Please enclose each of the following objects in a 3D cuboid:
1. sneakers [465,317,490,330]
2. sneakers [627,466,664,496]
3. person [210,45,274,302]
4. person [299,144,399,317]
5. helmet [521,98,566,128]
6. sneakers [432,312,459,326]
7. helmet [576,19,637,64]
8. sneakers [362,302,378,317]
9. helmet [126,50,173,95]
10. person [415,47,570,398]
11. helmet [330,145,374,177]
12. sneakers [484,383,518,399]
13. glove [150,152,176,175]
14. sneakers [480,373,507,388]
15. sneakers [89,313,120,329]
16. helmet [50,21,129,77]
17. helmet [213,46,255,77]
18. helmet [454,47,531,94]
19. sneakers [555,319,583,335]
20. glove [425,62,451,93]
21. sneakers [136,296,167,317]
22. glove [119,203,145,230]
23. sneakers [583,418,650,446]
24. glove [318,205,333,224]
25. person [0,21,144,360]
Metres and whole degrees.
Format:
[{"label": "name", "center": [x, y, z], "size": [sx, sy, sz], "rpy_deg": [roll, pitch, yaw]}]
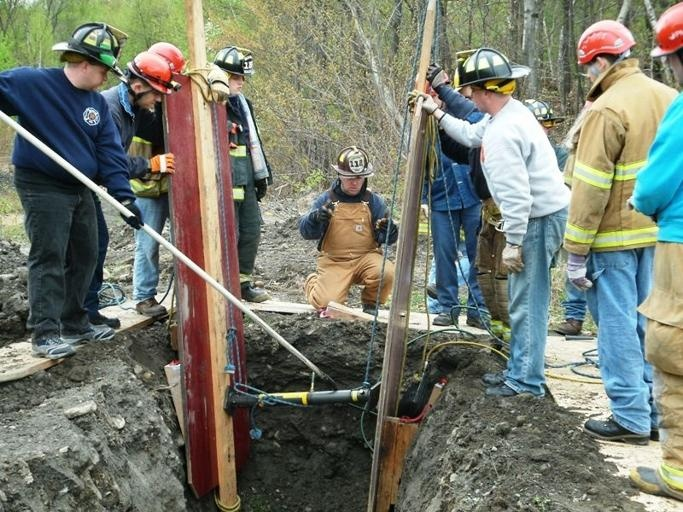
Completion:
[{"label": "sneakers", "center": [1.360, 0.685, 7.514], "size": [0.234, 0.114, 0.089], "rpy_deg": [2, 6, 42]}, {"label": "sneakers", "center": [2.092, 1.547, 5.117], "size": [0.105, 0.101, 0.230], "rpy_deg": [-9, 32, -29]}, {"label": "person", "center": [-1.022, -0.771, 7.739], "size": [0.383, 2.721, 0.749], "rpy_deg": [2, 12, 17]}, {"label": "person", "center": [0.065, -0.250, 7.890], "size": [0.976, 1.744, 0.954], "rpy_deg": [0, 4, 2]}, {"label": "helmet", "center": [2.120, -1.454, 7.932], "size": [0.419, 0.228, 0.308], "rpy_deg": [19, 34, 21]}, {"label": "sneakers", "center": [1.041, 0.648, 7.519], "size": [0.243, 0.112, 0.109], "rpy_deg": [2, -3, 11]}, {"label": "helmet", "center": [2.026, -1.657, 5.793], "size": [0.478, 0.313, 0.353], "rpy_deg": [2, 21, 37]}, {"label": "sneakers", "center": [0.306, 0.584, 7.920], "size": [0.115, 0.208, 0.151], "rpy_deg": [-12, -21, 7]}, {"label": "helmet", "center": [-1.627, -1.629, 6.481], "size": [0.471, 0.266, 0.343], "rpy_deg": [27, 28, 11]}, {"label": "person", "center": [1.381, -0.242, 5.885], "size": [0.781, 2.737, 0.501], "rpy_deg": [2, 12, 16]}, {"label": "helmet", "center": [0.106, -0.995, 7.735], "size": [0.435, 0.279, 0.549], "rpy_deg": [-2, 14, -5]}, {"label": "sneakers", "center": [1.292, 1.094, 6.034], "size": [0.180, 0.081, 0.111], "rpy_deg": [4, 1, 21]}, {"label": "glove", "center": [-1.565, -0.796, 6.446], "size": [0.238, 0.173, 0.155], "rpy_deg": [0, 12, 5]}, {"label": "sneakers", "center": [1.256, 1.038, 6.197], "size": [0.166, 0.069, 0.093], "rpy_deg": [-2, 3, -35]}, {"label": "sneakers", "center": [-2.192, 0.613, 6.935], "size": [0.320, 0.142, 0.109], "rpy_deg": [6, 13, -23]}, {"label": "helmet", "center": [-2.008, -1.716, 5.958], "size": [0.540, 0.302, 0.381], "rpy_deg": [18, 21, -30]}, {"label": "helmet", "center": [-1.102, -1.938, 7.454], "size": [0.375, 0.242, 0.316], "rpy_deg": [11, 38, 17]}, {"label": "helmet", "center": [1.178, -1.464, 5.842], "size": [0.440, 0.244, 0.377], "rpy_deg": [-4, 26, 28]}, {"label": "sneakers", "center": [2.409, 0.764, 7.883], "size": [0.354, 0.173, 0.125], "rpy_deg": [5, -5, 16]}, {"label": "glove", "center": [0.850, -1.576, 6.595], "size": [0.179, 0.092, 0.242], "rpy_deg": [-26, -20, -13]}, {"label": "sneakers", "center": [-1.858, 0.502, 7.301], "size": [0.280, 0.146, 0.158], "rpy_deg": [1, 12, 24]}, {"label": "glove", "center": [-1.698, -0.328, 6.045], "size": [0.143, 0.119, 0.266], "rpy_deg": [-16, 35, -23]}, {"label": "sneakers", "center": [2.058, 1.327, 5.593], "size": [0.448, 0.235, 0.193], "rpy_deg": [7, 4, 20]}, {"label": "glove", "center": [-0.170, -0.420, 7.624], "size": [0.140, 0.166, 0.091], "rpy_deg": [-2, 11, -4]}, {"label": "person", "center": [-2.213, -0.522, 6.190], "size": [0.963, 2.729, 0.527], "rpy_deg": [-5, 12, -18]}]
